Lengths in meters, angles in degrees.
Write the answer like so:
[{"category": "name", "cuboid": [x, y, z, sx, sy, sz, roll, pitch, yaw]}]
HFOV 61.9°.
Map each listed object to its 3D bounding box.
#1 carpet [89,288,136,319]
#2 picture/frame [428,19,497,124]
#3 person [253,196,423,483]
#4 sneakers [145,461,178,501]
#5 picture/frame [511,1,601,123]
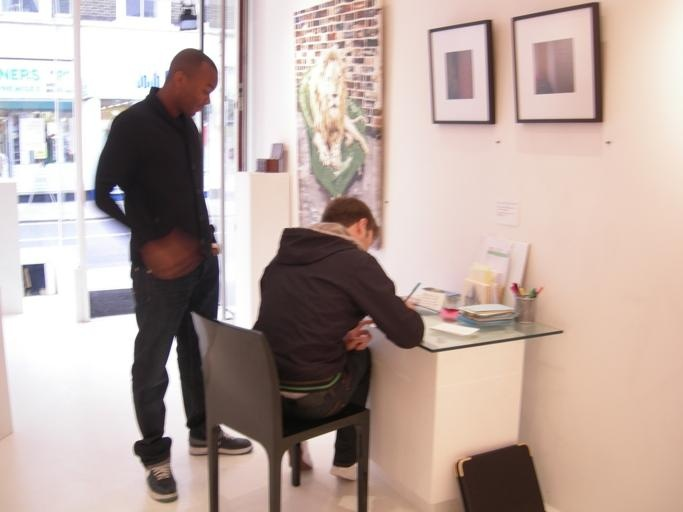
[{"category": "carpet", "cuboid": [-2.218, 0.471, 5.467, 0.319, 0.147, 0.247, -3, 32, -29]}, {"category": "picture/frame", "cuboid": [0.605, -0.916, 2.799, 0.063, 0.634, 0.530, -7, 8, -31]}, {"category": "person", "cuboid": [-0.032, 0.404, 2.576, 0.799, 1.277, 0.774, -7, 14, -38]}, {"category": "sneakers", "cuboid": [-0.869, 1.078, 2.731, 0.130, 0.121, 0.199, -4, 12, -23]}, {"category": "picture/frame", "cuboid": [0.921, -0.811, 2.436, 0.076, 0.466, 0.442, -8, 14, -35]}]
